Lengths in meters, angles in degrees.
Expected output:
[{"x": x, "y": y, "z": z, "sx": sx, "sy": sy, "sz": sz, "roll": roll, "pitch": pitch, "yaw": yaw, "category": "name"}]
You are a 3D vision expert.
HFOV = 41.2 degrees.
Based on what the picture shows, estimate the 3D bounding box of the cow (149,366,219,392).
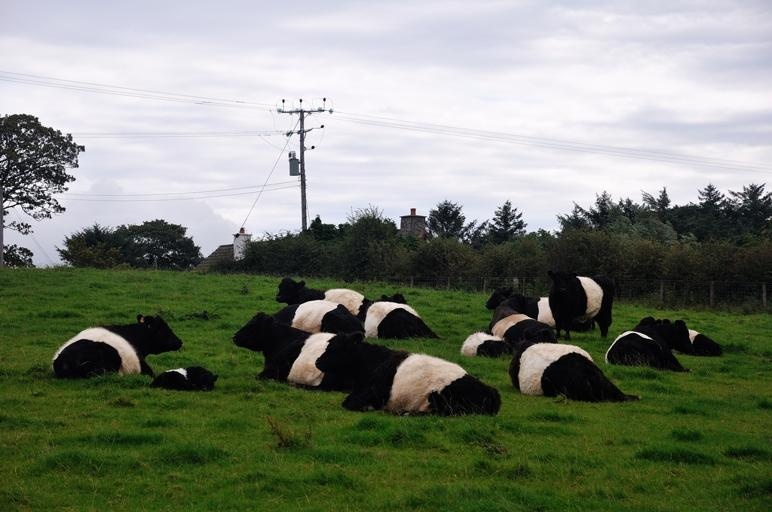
[{"x": -5.031, "y": 3.068, "z": 25.794, "sx": 1.042, "sy": 0.411, "sz": 0.732, "roll": 3, "pitch": -2, "yaw": -18, "category": "cow"}]

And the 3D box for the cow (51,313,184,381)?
[{"x": -7.072, "y": 2.520, "z": 27.097, "sx": 1.562, "sy": 1.760, "sz": 3.642, "roll": -7, "pitch": -4, "yaw": 34, "category": "cow"}]

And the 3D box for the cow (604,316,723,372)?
[{"x": 7.922, "y": 2.468, "z": 29.332, "sx": 1.819, "sy": 0.791, "sz": 2.515, "roll": -3, "pitch": 3, "yaw": 43, "category": "cow"}]
